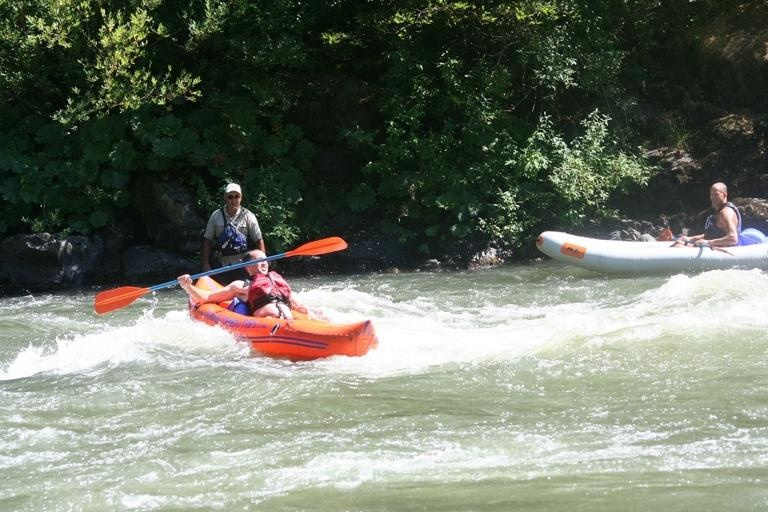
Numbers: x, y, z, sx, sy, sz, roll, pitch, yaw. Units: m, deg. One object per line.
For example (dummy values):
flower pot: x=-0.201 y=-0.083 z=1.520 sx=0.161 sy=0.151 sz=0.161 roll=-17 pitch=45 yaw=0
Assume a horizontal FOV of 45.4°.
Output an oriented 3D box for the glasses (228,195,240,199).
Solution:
glasses: x=-2.391 y=-0.953 z=14.850 sx=0.202 sy=0.083 sz=0.113 roll=-1 pitch=-1 yaw=-25

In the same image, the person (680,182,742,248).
person: x=6.092 y=-0.667 z=17.252 sx=1.153 sy=1.325 sz=1.302 roll=-3 pitch=4 yaw=10

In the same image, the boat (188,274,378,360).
boat: x=-1.334 y=0.866 z=13.020 sx=2.006 sy=0.608 sz=1.022 roll=7 pitch=4 yaw=34

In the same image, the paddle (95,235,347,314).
paddle: x=-2.998 y=0.334 z=16.030 sx=5.556 sy=0.579 sz=0.212 roll=-12 pitch=21 yaw=-19

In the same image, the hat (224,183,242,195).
hat: x=-2.441 y=-1.138 z=15.045 sx=0.296 sy=0.160 sz=0.453 roll=0 pitch=-5 yaw=-9
